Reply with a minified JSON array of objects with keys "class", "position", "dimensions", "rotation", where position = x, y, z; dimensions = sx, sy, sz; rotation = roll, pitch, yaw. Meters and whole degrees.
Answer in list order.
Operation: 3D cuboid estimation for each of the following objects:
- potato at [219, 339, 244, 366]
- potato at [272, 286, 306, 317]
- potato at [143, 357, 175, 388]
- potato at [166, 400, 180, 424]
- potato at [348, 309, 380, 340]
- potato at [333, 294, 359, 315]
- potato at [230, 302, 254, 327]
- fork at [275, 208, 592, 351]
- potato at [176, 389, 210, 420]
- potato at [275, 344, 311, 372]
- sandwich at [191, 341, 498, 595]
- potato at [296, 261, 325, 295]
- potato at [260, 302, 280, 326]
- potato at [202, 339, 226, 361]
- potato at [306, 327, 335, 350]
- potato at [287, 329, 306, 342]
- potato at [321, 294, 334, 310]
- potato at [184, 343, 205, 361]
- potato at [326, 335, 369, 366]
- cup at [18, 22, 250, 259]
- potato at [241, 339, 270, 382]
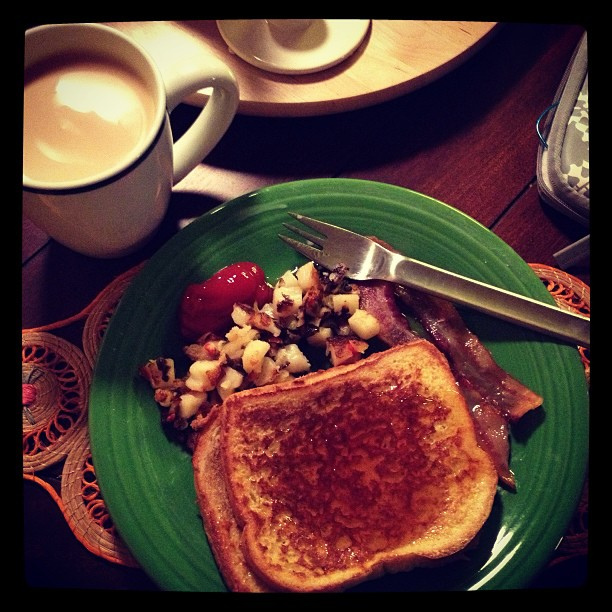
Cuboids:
[{"class":"potato","position":[-0.157,0.100,1.296],"dimensions":[0.036,0.015,0.062],"rotation":[20,85,8]},{"class":"potato","position":[-0.038,-0.008,1.317],"dimensions":[0.062,0.035,0.064],"rotation":[3,78,0]},{"class":"potato","position":[-0.309,0.146,1.313],"dimensions":[0.061,0.019,0.060],"rotation":[-6,79,-2]},{"class":"potato","position":[-0.274,0.223,1.293],"dimensions":[0.026,0.011,0.046],"rotation":[20,95,33]},{"class":"potato","position":[0.123,0.044,1.366],"dimensions":[0.054,0.053,0.074],"rotation":[-30,70,-14]},{"class":"potato","position":[0.084,-0.003,1.330],"dimensions":[0.063,0.037,0.049],"rotation":[1,119,0]},{"class":"potato","position":[-0.132,0.020,1.315],"dimensions":[0.045,0.030,0.054],"rotation":[-5,78,-1]},{"class":"fork","position":[0.258,-0.046,1.375],"dimensions":[0.704,0.066,0.082],"rotation":[23,90,1]},{"class":"potato","position":[-0.235,0.205,1.312],"dimensions":[0.042,0.031,0.071],"rotation":[41,78,-2]},{"class":"potato","position":[-0.028,0.115,1.315],"dimensions":[0.056,0.023,0.056],"rotation":[43,73,-3]},{"class":"sandwich","position":[0.078,0.348,1.265],"dimensions":[0.592,0.090,0.447],"rotation":[-18,79,-4]},{"class":"potato","position":[0.008,-0.061,1.340],"dimensions":[0.064,0.025,0.066],"rotation":[-19,69,14]},{"class":"potato","position":[-0.075,0.018,1.333],"dimensions":[0.041,0.013,0.041],"rotation":[-38,74,0]},{"class":"potato","position":[-0.194,0.094,1.306],"dimensions":[0.034,0.010,0.044],"rotation":[23,80,9]},{"class":"potato","position":[0.031,0.071,1.336],"dimensions":[0.068,0.039,0.050],"rotation":[-4,107,-2]},{"class":"potato","position":[-0.021,0.064,1.332],"dimensions":[0.028,0.008,0.030],"rotation":[18,101,-11]},{"class":"potato","position":[0.046,-0.005,1.331],"dimensions":[0.027,0.008,0.028],"rotation":[26,82,16]},{"class":"potato","position":[-0.234,0.101,1.318],"dimensions":[0.033,0.009,0.035],"rotation":[-8,82,12]},{"class":"potato","position":[0.087,0.099,1.335],"dimensions":[0.087,0.050,0.067],"rotation":[-1,78,-1]},{"class":"cup","position":[-0.348,-0.325,1.274],"dimensions":[0.485,0.364,0.320],"rotation":[-26,71,-16]},{"class":"potato","position":[-0.102,0.115,1.273],"dimensions":[0.049,0.022,0.076],"rotation":[18,84,-28]}]
